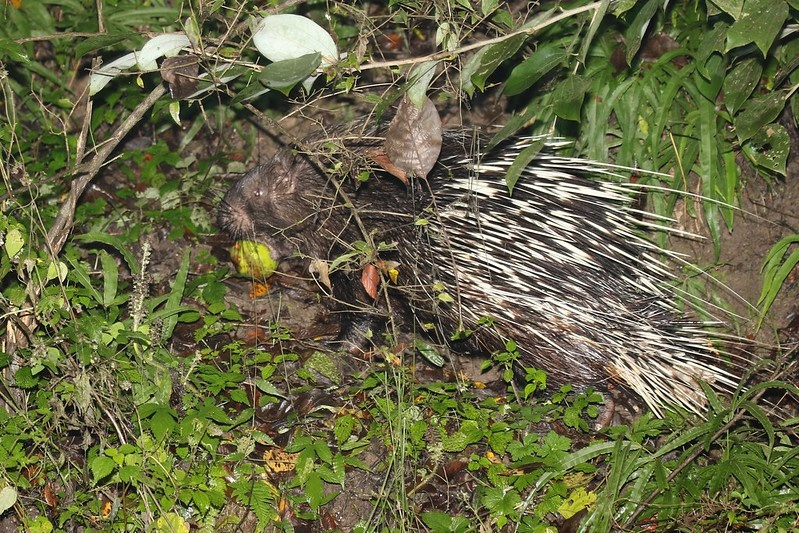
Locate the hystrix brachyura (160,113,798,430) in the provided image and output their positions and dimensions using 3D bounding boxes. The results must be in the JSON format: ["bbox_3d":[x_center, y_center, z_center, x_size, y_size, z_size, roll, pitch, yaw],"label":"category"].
[{"bbox_3d":[0.513,-0.138,4.235,3.056,1.562,1.233,17,62,13],"label":"hystrix brachyura"}]
